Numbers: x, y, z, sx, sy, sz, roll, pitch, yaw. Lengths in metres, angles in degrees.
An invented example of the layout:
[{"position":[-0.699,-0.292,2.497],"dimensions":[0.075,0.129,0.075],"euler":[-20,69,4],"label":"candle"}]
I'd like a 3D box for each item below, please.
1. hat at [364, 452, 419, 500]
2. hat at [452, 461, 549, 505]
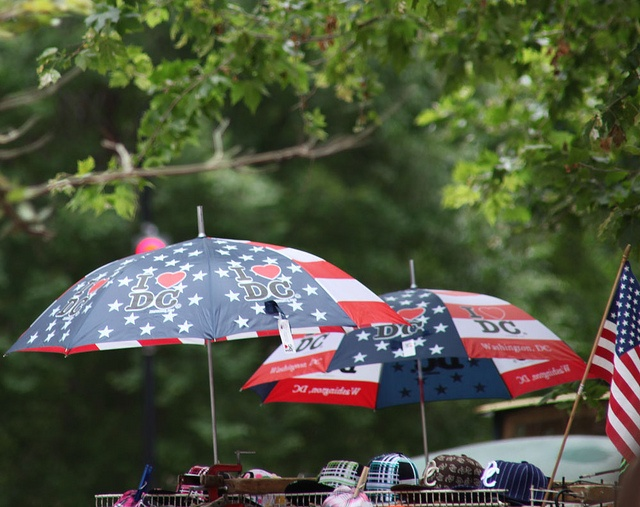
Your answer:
[{"position":[1.070,3.289,24.878],"dimensions":[0.613,0.507,0.623],"euler":[-6,-11,40],"label":"hat"},{"position":[2.884,3.327,24.881],"dimensions":[0.872,0.485,0.542],"euler":[14,-13,7],"label":"hat"}]
